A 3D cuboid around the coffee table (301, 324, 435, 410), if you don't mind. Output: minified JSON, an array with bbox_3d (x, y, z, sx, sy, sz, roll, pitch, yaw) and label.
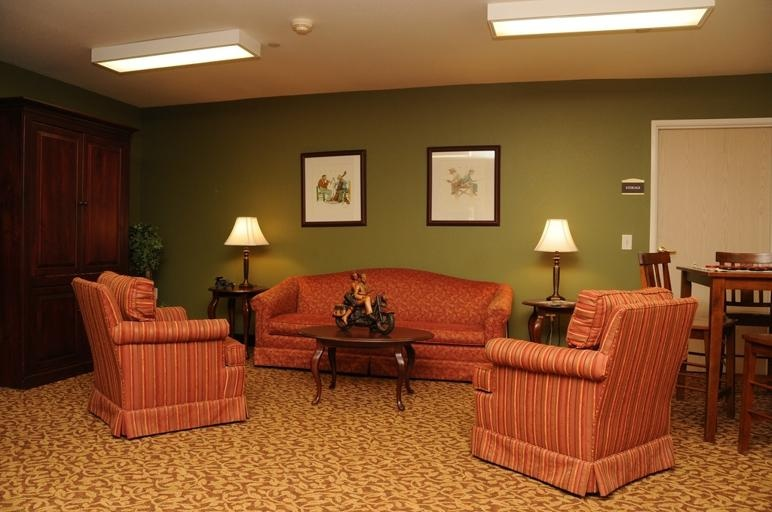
[{"bbox_3d":[-0.169,0.992,5.625,1.228,0.767,0.938,5,13,19],"label":"coffee table"}]

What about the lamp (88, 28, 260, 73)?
[{"bbox_3d":[-2.111,-2.054,5.843,1.709,0.334,0.399,4,13,15],"label":"lamp"}]

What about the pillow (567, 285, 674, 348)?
[{"bbox_3d":[1.637,0.424,4.135,0.717,0.400,0.255,-5,14,-26],"label":"pillow"}]

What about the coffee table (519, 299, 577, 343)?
[{"bbox_3d":[1.739,0.603,6.310,0.507,0.565,0.530,0,0,7],"label":"coffee table"}]

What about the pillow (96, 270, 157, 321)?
[{"bbox_3d":[-2.202,0.308,4.907,0.645,0.336,0.313,11,16,39],"label":"pillow"}]

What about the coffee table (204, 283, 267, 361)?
[{"bbox_3d":[-1.934,0.676,7.018,0.846,1.033,0.937,0,0,12],"label":"coffee table"}]

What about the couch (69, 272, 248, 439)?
[{"bbox_3d":[-2.007,0.774,5.273,1.399,1.427,1.142,0,2,-37],"label":"couch"}]

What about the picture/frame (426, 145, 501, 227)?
[{"bbox_3d":[0.946,-0.853,6.796,0.890,0.996,0.071,0,-1,10],"label":"picture/frame"}]
